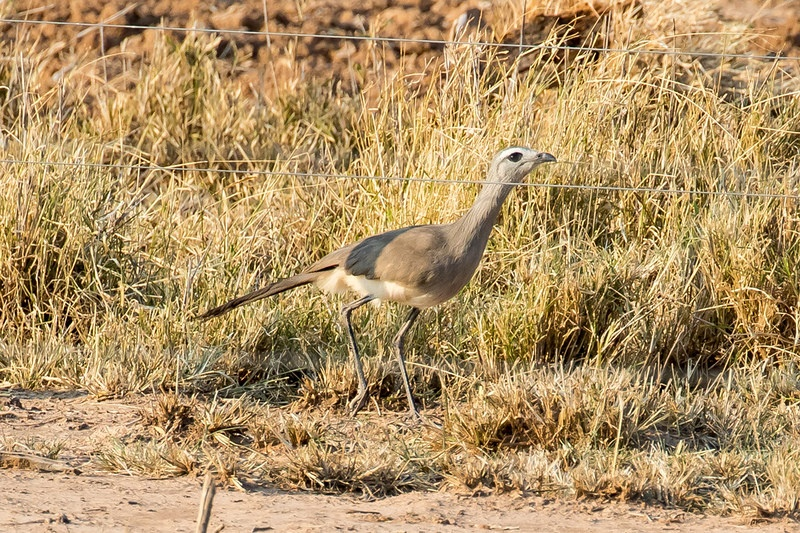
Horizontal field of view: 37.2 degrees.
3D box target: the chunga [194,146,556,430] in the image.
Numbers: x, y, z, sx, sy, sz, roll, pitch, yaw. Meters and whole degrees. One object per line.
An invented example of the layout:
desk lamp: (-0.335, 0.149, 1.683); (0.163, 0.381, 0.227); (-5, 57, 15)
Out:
chunga: (0.021, 0.078, 7.327); (1.680, 1.728, 0.393); (6, 10, 6)
